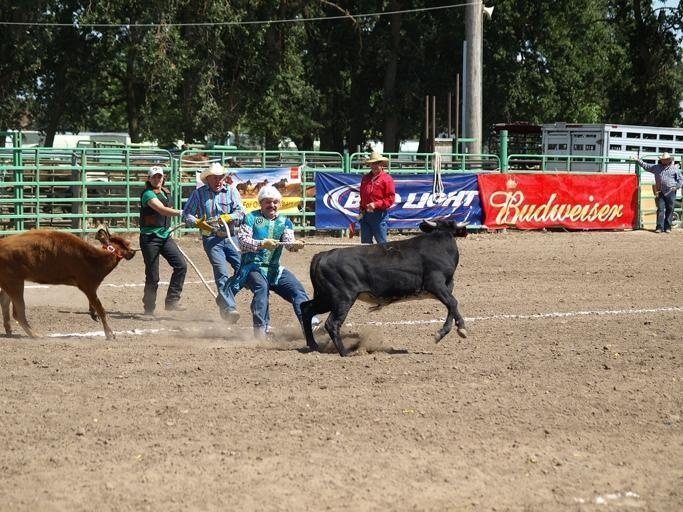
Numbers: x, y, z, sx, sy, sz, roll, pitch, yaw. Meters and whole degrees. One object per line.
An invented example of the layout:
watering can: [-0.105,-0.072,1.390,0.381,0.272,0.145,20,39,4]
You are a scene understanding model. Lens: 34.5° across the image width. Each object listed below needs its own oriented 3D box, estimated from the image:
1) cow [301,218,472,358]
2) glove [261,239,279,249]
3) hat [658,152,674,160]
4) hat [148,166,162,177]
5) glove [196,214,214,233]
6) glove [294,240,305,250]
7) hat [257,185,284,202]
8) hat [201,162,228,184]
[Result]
cow: [0.725,0.563,16.946,1.897,1.431,0.776,-5,-11,-5]
glove: [-1.038,-0.178,15.944,0.282,0.163,0.168,2,21,-10]
hat: [8.057,-2.474,27.169,0.308,0.142,0.359,0,4,17]
hat: [-3.014,-1.366,17.691,0.206,0.173,0.256,-1,15,-2]
glove: [-2.144,-0.501,17.195,0.193,0.098,0.265,34,-10,25]
glove: [-0.614,-0.174,15.977,0.122,0.095,0.126,-4,-15,12]
hat: [-1.070,-0.936,16.198,0.289,0.264,0.411,0,15,-1]
hat: [-2.062,-1.328,17.419,0.383,0.381,0.507,-2,15,-8]
